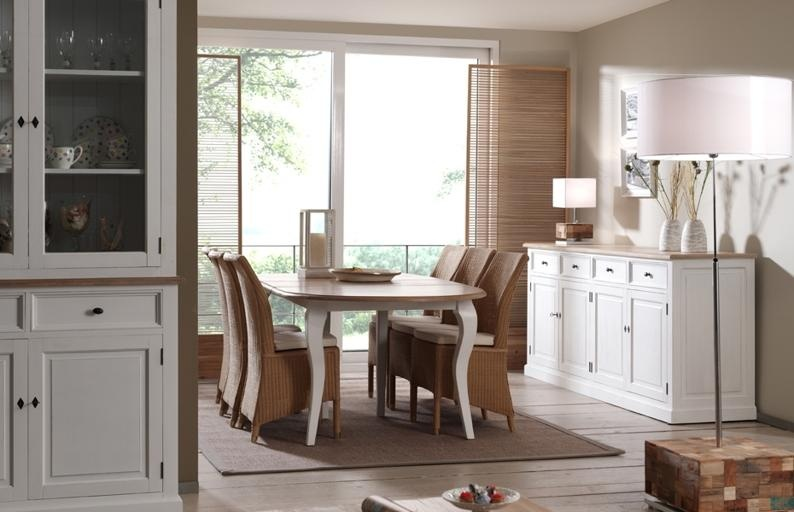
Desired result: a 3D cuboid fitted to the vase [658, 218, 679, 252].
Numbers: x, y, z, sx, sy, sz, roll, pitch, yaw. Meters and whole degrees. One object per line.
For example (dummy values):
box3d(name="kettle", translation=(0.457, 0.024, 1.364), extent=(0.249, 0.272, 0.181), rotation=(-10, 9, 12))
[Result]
box3d(name="vase", translation=(2.280, -0.181, 5.451), extent=(0.265, 0.241, 0.197), rotation=(-8, 12, -36))

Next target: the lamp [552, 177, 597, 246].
box3d(name="lamp", translation=(1.776, -0.460, 6.490), extent=(0.448, 0.634, 0.643), rotation=(2, 4, 14))

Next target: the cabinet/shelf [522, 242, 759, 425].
box3d(name="cabinet/shelf", translation=(2.033, 0.642, 5.245), extent=(0.548, 0.869, 1.504), rotation=(0, 1, -17))

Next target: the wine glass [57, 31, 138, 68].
box3d(name="wine glass", translation=(-1.574, -1.057, 3.385), extent=(0.303, 0.100, 0.214), rotation=(2, 3, -1))

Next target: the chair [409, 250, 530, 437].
box3d(name="chair", translation=(0.433, 0.624, 5.026), extent=(1.050, 1.287, 1.022), rotation=(0, -3, 30))

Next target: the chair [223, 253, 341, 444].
box3d(name="chair", translation=(-0.567, 0.672, 4.807), extent=(0.865, 1.226, 0.778), rotation=(-5, -3, 21))

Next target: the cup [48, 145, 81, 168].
box3d(name="cup", translation=(-1.722, -0.485, 3.345), extent=(0.161, 0.106, 0.111), rotation=(1, -4, -42))

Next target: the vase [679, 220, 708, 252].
box3d(name="vase", translation=(2.365, -0.166, 5.188), extent=(0.238, 0.232, 0.215), rotation=(-5, 9, -24))

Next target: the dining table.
box3d(name="dining table", translation=(-0.099, 0.801, 5.344), extent=(1.539, 0.955, 2.281), rotation=(-1, -3, -7))
